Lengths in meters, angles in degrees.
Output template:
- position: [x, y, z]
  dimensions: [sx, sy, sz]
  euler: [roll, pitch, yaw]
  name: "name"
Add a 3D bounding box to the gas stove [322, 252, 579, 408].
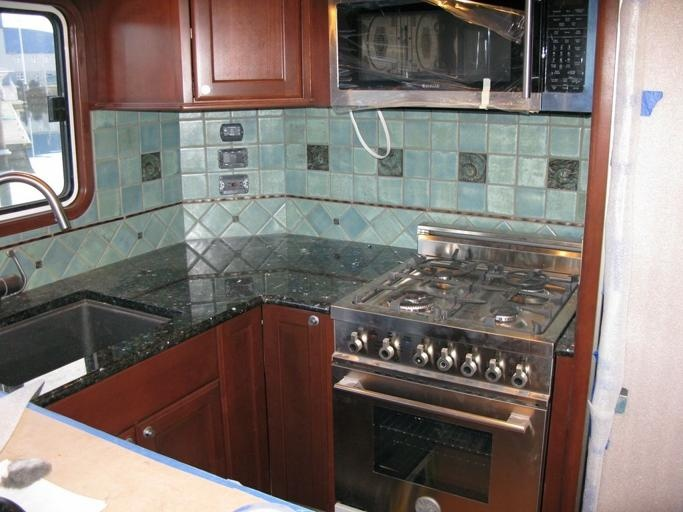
- position: [0.528, 0.249, 2.166]
  dimensions: [0.961, 0.293, 0.976]
  euler: [0, 15, 9]
  name: "gas stove"
